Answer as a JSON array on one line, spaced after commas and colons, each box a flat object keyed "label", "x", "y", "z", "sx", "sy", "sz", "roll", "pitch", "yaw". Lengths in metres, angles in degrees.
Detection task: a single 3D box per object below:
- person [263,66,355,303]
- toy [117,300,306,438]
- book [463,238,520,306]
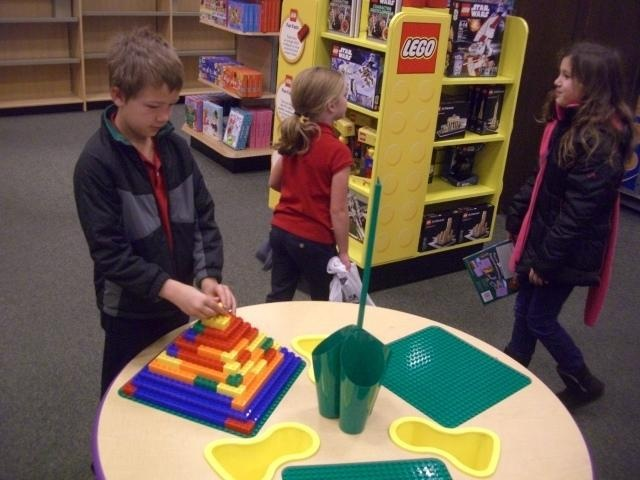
[{"label": "person", "x": -0.052, "y": -0.250, "z": 2.690, "sx": 0.515, "sy": 1.276, "sz": 0.417, "roll": 6, "pitch": 22, "yaw": 5}, {"label": "toy", "x": -0.346, "y": 0.389, "z": 1.677, "sx": 0.487, "sy": 0.230, "sz": 0.527, "roll": 9, "pitch": 14, "yaw": 10}, {"label": "book", "x": 0.984, "y": 0.183, "z": 2.707, "sx": 0.356, "sy": 0.031, "sz": 0.277, "roll": -15, "pitch": 71, "yaw": -22}]
